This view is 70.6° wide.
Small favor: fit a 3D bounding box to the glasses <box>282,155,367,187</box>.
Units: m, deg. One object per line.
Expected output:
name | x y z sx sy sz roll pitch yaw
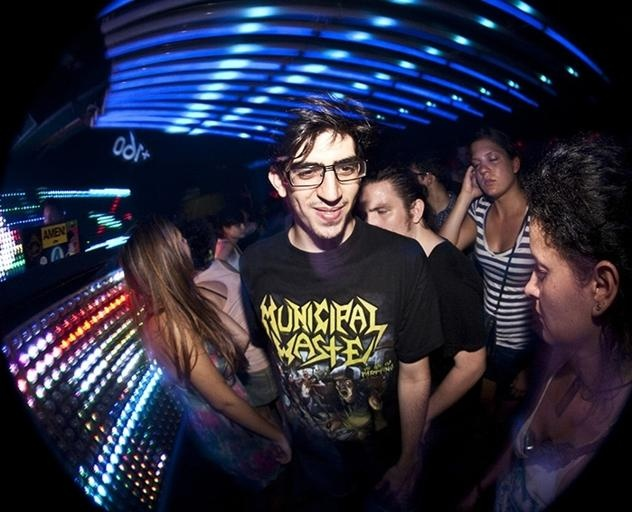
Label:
glasses | 0.060 -0.462 2.520 0.452 0.153 0.137 -6 9 -9
